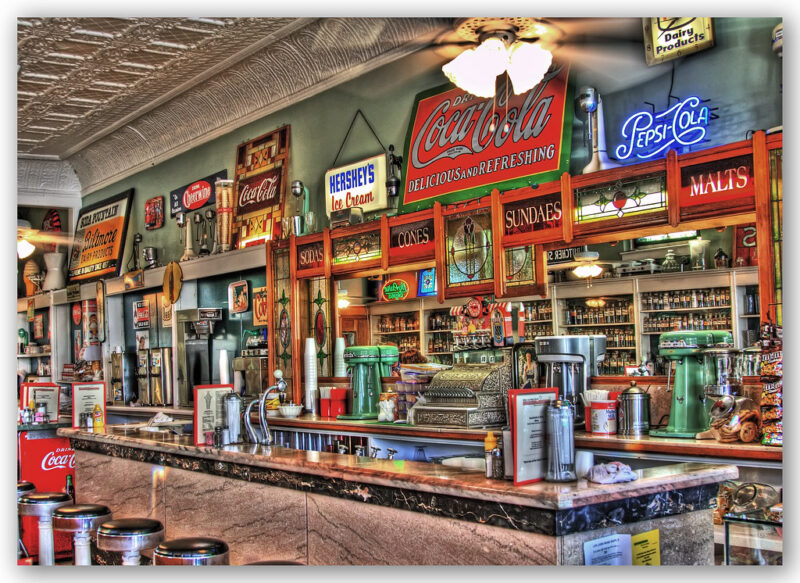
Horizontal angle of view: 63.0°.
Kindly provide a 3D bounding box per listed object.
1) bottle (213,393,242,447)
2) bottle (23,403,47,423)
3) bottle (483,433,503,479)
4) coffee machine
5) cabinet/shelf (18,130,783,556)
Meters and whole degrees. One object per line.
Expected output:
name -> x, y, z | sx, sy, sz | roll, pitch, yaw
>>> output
bottle -> -1.236, 0.928, 4.711 | 0.166, 0.323, 0.336 | -10, 6, 10
bottle -> -3.959, 1.318, 7.053 | 0.175, 0.218, 0.070 | 1, -17, -23
bottle -> 0.462, 0.792, 3.240 | 0.108, 0.133, 0.222 | -11, 5, 4
coffee machine -> 1.362, 0.722, 5.317 | 0.478, 0.736, 0.425 | 1, -2, -22
cabinet/shelf -> 0.499, 0.175, 6.133 | 5.586, 2.038, 1.599 | -6, 8, 43
